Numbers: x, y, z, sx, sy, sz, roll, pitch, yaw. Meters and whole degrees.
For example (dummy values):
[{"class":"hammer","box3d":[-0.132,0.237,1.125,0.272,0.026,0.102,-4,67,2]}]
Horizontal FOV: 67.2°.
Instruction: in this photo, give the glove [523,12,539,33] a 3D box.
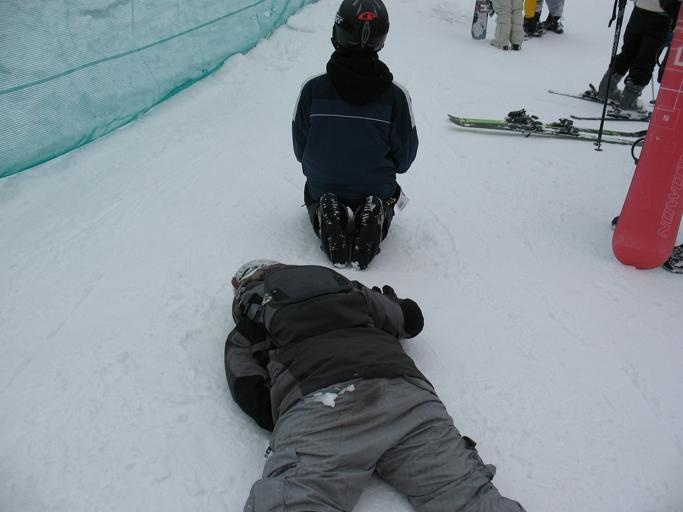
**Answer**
[{"class":"glove","box3d":[2.726,-3.395,7.545,0.234,0.274,0.236,-6,43,2]}]

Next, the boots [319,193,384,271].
[{"class":"boots","box3d":[0.060,-0.148,3.346,0.353,0.191,0.524,3,61,-3]}]
